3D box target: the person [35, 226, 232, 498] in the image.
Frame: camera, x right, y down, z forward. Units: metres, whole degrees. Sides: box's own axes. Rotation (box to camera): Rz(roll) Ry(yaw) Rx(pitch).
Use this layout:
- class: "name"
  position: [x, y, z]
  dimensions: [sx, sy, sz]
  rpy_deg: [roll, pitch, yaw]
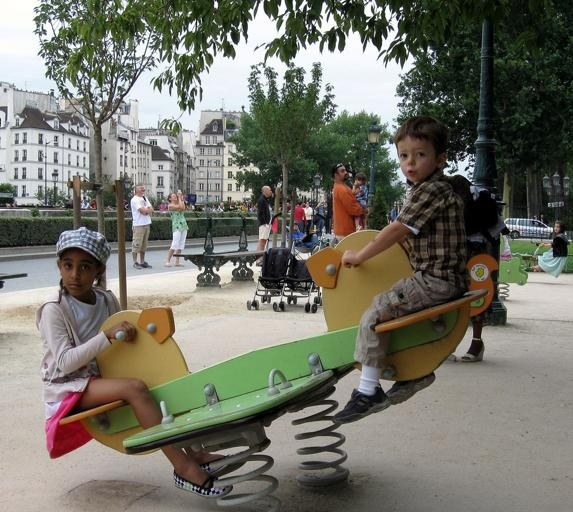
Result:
- class: "person"
  position: [-0.896, 0.532, 3.391]
  dimensions: [0.888, 1.352, 0.559]
  rpy_deg: [3, 5, 39]

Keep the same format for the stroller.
- class: "stroller"
  position: [-0.111, 0.164, 11.057]
  dimensions: [0.950, 1.312, 1.203]
  rpy_deg: [14, 21, 22]

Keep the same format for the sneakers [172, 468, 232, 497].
- class: "sneakers"
  position: [-0.438, 1.186, 3.280]
  dimensions: [0.296, 0.111, 0.121]
  rpy_deg: [2, 2, 19]

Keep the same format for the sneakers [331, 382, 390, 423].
- class: "sneakers"
  position: [0.372, 0.731, 3.158]
  dimensions: [0.315, 0.162, 0.132]
  rpy_deg: [-23, -5, -23]

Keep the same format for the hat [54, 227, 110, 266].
- class: "hat"
  position: [-1.128, -0.065, 3.504]
  dimensions: [0.280, 0.166, 0.374]
  rpy_deg: [7, -13, -25]

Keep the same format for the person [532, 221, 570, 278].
- class: "person"
  position: [7.553, -0.174, 18.098]
  dimensions: [0.878, 1.594, 3.104]
  rpy_deg: [2, 4, 23]

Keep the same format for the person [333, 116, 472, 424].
- class: "person"
  position: [0.522, 0.077, 3.379]
  dimensions: [0.701, 1.556, 0.691]
  rpy_deg: [6, -9, -31]

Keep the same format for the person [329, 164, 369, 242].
- class: "person"
  position: [1.094, -0.579, 11.229]
  dimensions: [0.528, 1.986, 0.615]
  rpy_deg: [-3, 11, -8]

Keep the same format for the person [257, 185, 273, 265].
- class: "person"
  position: [-0.637, -0.907, 17.622]
  dimensions: [0.434, 2.075, 0.586]
  rpy_deg: [8, 15, 22]
